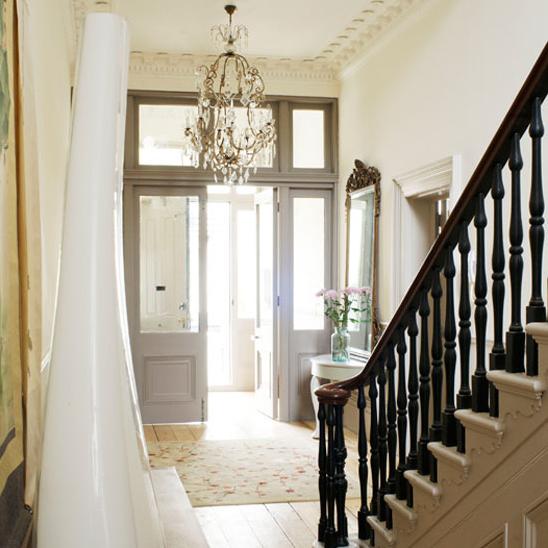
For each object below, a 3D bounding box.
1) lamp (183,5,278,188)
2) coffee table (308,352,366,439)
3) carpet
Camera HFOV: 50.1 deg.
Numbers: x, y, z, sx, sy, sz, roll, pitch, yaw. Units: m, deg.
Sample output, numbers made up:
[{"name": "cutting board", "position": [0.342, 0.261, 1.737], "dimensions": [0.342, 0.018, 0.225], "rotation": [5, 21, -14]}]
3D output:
[{"name": "lamp", "position": [-0.351, -1.402, 4.947], "dimensions": [0.769, 1.467, 2.127], "rotation": [0, 0, -5]}, {"name": "coffee table", "position": [0.507, 1.007, 5.418], "dimensions": [0.645, 1.010, 0.747], "rotation": [1, -2, -1]}, {"name": "carpet", "position": [-0.312, 1.510, 4.640], "dimensions": [1.391, 0.047, 1.611], "rotation": [0, 0, -7]}]
